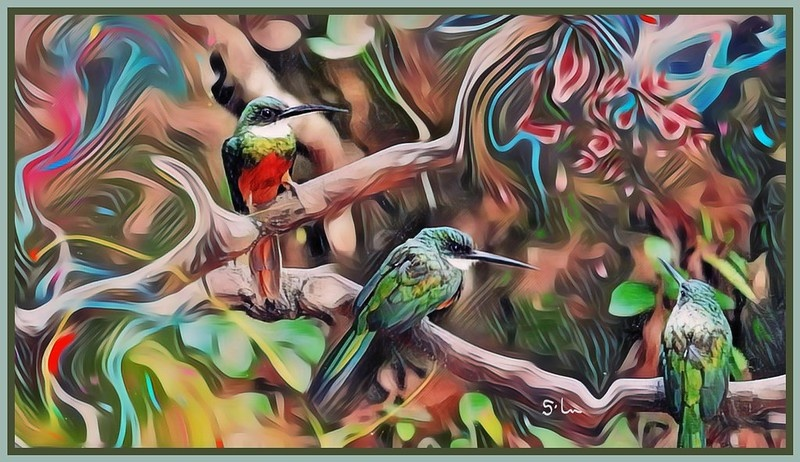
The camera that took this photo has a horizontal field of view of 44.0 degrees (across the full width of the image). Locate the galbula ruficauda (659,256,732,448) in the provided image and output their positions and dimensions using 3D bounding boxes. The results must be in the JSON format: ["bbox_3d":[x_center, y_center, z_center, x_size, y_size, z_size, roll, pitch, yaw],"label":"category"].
[{"bbox_3d":[1.376,0.589,4.796,0.307,0.927,0.383,7,3,7],"label":"galbula ruficauda"}]
